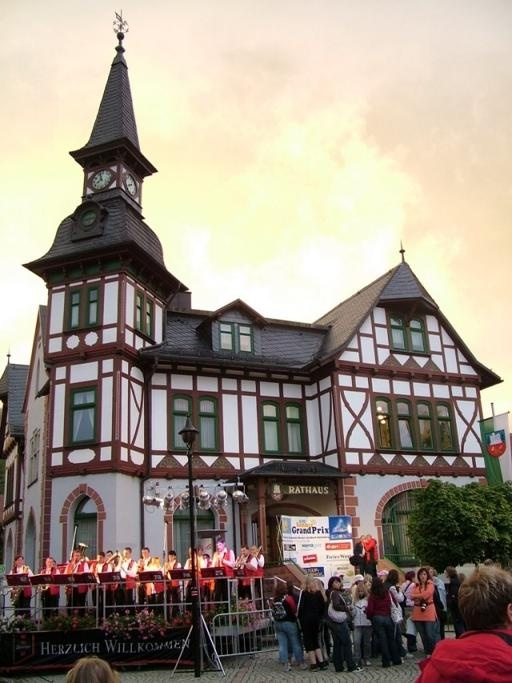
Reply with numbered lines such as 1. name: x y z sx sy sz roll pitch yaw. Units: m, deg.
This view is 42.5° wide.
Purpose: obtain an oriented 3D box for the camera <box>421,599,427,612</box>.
1. camera: 2.797 4.434 11.021 0.052 0.147 0.119 3 3 -20

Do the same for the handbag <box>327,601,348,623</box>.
1. handbag: 1.390 4.781 11.537 0.267 0.397 0.406 3 -22 -1

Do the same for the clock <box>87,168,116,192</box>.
1. clock: -5.728 -6.009 24.555 1.132 1.079 0.084 8 -17 37

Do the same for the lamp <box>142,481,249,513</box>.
1. lamp: -1.958 4.661 19.518 2.909 0.834 2.331 -11 -14 38

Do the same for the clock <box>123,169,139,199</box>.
1. clock: -4.744 -5.899 24.804 0.111 1.101 1.355 -13 -21 14
